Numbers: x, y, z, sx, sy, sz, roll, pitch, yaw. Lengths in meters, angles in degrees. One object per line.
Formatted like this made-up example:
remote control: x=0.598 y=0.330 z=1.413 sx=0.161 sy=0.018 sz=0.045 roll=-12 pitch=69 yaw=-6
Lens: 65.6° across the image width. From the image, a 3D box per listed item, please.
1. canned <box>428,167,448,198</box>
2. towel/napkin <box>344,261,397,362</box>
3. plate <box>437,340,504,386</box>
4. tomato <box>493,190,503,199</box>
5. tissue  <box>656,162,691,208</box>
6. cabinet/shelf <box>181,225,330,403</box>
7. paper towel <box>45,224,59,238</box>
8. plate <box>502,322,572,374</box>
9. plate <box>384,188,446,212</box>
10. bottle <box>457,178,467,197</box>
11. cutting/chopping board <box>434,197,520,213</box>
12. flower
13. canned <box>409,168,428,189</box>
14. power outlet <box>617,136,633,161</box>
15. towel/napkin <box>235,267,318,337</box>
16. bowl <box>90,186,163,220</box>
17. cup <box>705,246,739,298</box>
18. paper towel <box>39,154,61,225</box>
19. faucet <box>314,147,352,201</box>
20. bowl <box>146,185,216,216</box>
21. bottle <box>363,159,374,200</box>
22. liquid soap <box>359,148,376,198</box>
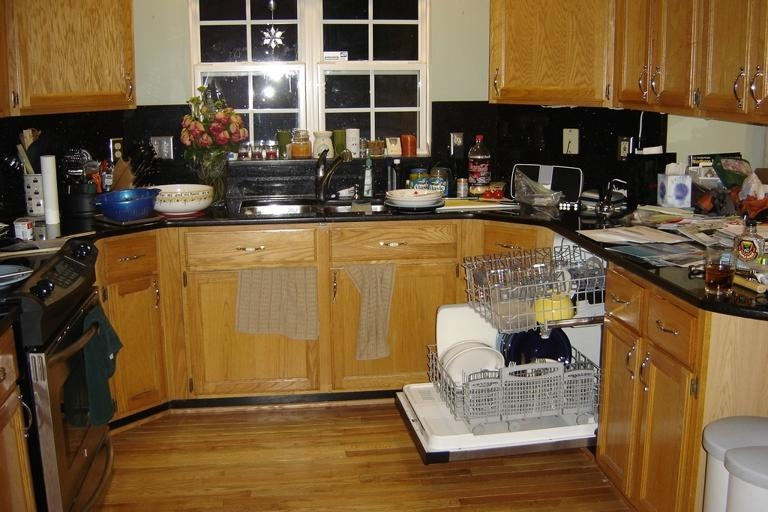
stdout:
canned: x=0.397 y=-0.534 z=4.350 sx=0.178 sy=0.278 sz=0.177 roll=-3 pitch=15 yaw=-4
towel/napkin: x=-0.069 y=0.347 z=3.777 sx=0.308 sy=0.603 sz=0.090 roll=-4 pitch=13 yaw=-2
plate: x=0.466 y=0.580 z=3.223 sx=0.367 sy=0.230 sz=0.123 roll=-9 pitch=14 yaw=-21
tomato: x=0.791 y=-0.422 z=4.146 sx=0.058 sy=0.031 sz=0.058 roll=3 pitch=40 yaw=12
tissue : x=1.704 y=-0.406 z=3.495 sx=0.188 sy=0.255 sz=0.124 roll=3 pitch=15 yaw=27
cabinet/shelf: x=-0.928 y=0.209 z=4.052 sx=1.165 sy=1.492 sz=0.958 roll=-1 pitch=10 yaw=-8
paper towel: x=-1.855 y=-0.138 z=3.336 sx=0.077 sy=0.037 sz=0.337 roll=-11 pitch=16 yaw=-28
plate: x=0.847 y=0.512 z=3.192 sx=0.270 sy=0.271 sz=0.053 roll=9 pitch=6 yaw=2
plate: x=0.193 y=-0.357 z=3.875 sx=0.376 sy=0.124 sz=0.210 roll=-4 pitch=14 yaw=1
bottle: x=0.559 y=-0.484 z=4.297 sx=0.079 sy=0.129 sz=0.082 roll=-1 pitch=20 yaw=0
cutting/chopping board: x=0.623 y=-0.325 z=3.938 sx=0.513 sy=0.051 sz=0.441 roll=-1 pitch=14 yaw=13
flower: x=-1.199 y=-0.737 z=4.083 sx=0.430 sy=0.679 sz=0.455 roll=9 pitch=12 yaw=29
canned: x=0.245 y=-0.541 z=4.228 sx=0.135 sy=0.148 sz=0.136 roll=-1 pitch=13 yaw=-3
power outlet: x=1.524 y=-0.674 z=3.769 sx=0.021 sy=0.142 sz=0.119 roll=-8 pitch=14 yaw=-18
towel/napkin: x=-0.687 y=0.286 z=3.697 sx=0.511 sy=0.441 sz=0.035 roll=3 pitch=10 yaw=3
bowl: x=-1.550 y=-0.298 z=3.604 sx=0.329 sy=0.142 sz=0.360 roll=-1 pitch=23 yaw=1
cup: x=1.338 y=0.068 z=2.372 sx=0.144 sy=0.170 sz=0.144 roll=1 pitch=5 yaw=0
paper towel: x=-1.975 y=-0.404 z=3.498 sx=0.118 sy=0.353 sz=0.118 roll=-1 pitch=6 yaw=-3
faucet: x=-0.349 y=-0.556 z=4.123 sx=0.262 sy=0.327 sz=0.339 roll=-5 pitch=14 yaw=-3
bowl: x=-1.254 y=-0.347 z=3.716 sx=0.270 sy=0.113 sz=0.272 roll=1 pitch=14 yaw=0
bottle: x=-0.101 y=-0.561 z=4.271 sx=0.071 sy=0.284 sz=0.122 roll=5 pitch=16 yaw=34
liquid soap: x=-0.118 y=-0.564 z=4.283 sx=0.087 sy=0.304 sz=0.086 roll=5 pitch=5 yaw=32
